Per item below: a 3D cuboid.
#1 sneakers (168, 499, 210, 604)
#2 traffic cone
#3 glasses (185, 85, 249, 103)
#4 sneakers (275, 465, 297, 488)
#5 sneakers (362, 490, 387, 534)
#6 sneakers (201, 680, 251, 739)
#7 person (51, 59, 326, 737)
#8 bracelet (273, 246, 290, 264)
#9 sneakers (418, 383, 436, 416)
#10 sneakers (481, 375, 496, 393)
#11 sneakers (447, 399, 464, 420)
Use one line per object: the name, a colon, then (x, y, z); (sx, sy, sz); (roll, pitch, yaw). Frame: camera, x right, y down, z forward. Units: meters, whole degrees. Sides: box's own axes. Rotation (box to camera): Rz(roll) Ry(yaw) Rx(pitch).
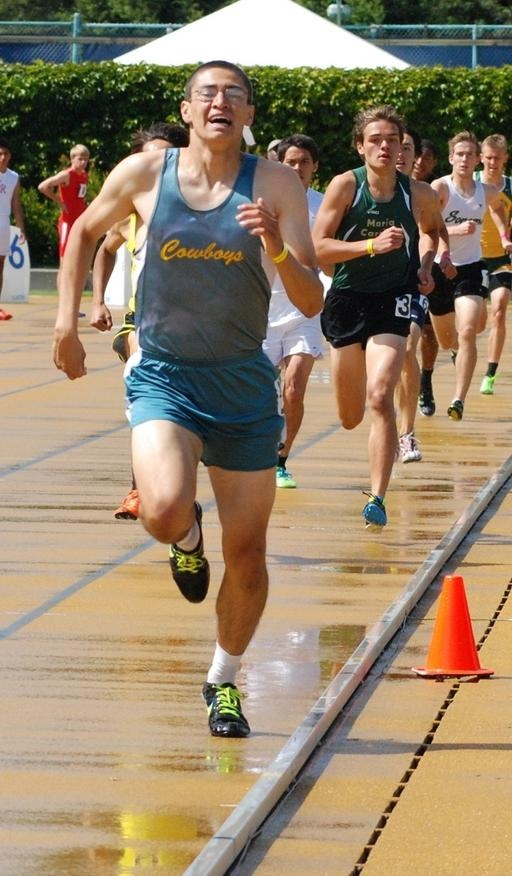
sneakers: (-0.167, 0.332, 2.773); (0.112, 0.300, 0.134); (-9, 24, 2)
traffic cone: (0.593, 0.569, 3.003); (0.267, 0.282, 0.250); (-1, -7, 15)
glasses: (-0.085, -0.835, 2.422); (0.133, 0.045, 0.078); (1, 14, -8)
sneakers: (0.164, 0.243, 6.297); (0.086, 0.096, 0.231); (18, 0, -37)
sneakers: (0.557, 0.372, 4.780); (0.093, 0.113, 0.240); (4, -27, 24)
sneakers: (-0.077, 0.683, 2.552); (0.088, 0.092, 0.231); (10, 10, -16)
person: (-0.101, -0.092, 2.468); (0.576, 1.648, 0.618); (0, 15, -11)
bracelet: (0.060, -0.425, 2.328); (0.014, 0.037, 0.033); (41, 59, 9)
sneakers: (1.570, -0.372, 9.243); (0.131, 0.343, 0.155); (-4, -20, 2)
sneakers: (2.456, -0.575, 10.419); (0.112, 0.128, 0.306); (14, 28, -2)
sneakers: (1.724, -0.234, 8.572); (0.093, 0.112, 0.250); (3, -6, 12)
